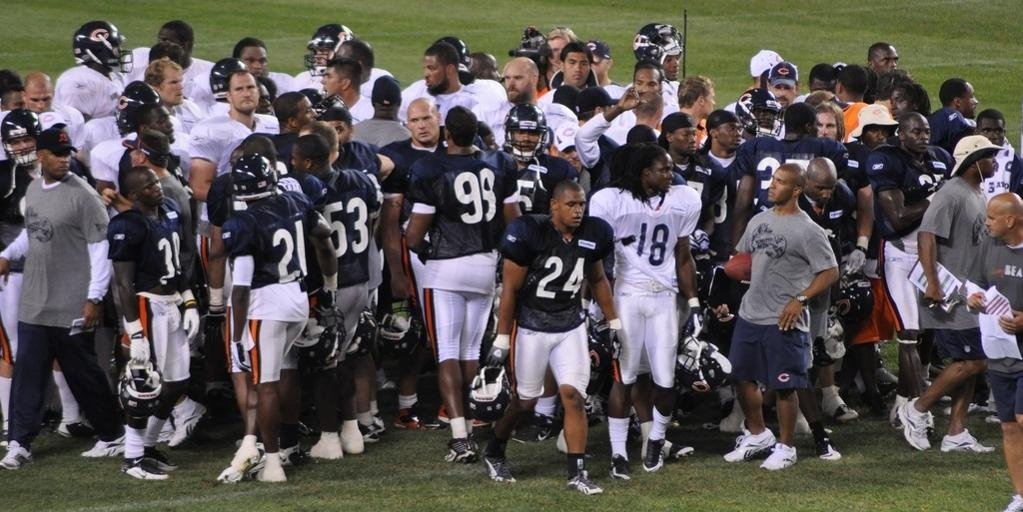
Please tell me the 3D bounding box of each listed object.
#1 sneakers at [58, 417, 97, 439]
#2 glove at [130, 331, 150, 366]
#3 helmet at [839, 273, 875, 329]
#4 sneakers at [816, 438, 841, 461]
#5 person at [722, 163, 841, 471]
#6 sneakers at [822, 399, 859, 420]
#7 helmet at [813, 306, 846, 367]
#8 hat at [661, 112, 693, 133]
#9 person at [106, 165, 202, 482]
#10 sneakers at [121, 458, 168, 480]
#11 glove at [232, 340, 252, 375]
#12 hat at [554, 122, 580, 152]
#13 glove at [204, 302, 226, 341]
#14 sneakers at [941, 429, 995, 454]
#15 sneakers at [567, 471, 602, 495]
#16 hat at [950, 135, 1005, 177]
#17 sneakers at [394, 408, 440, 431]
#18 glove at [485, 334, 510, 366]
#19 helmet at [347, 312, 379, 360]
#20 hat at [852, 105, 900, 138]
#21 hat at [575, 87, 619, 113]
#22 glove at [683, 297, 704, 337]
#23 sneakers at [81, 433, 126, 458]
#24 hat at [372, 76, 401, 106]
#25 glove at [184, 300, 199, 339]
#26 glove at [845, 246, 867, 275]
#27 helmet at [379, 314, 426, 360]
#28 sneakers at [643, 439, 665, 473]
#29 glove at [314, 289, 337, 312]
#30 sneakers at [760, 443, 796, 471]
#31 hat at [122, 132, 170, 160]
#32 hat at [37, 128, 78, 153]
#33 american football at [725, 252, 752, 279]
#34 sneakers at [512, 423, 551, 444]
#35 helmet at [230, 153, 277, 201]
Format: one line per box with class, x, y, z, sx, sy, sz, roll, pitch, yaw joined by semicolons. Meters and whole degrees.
sneakers;-5.303;2.097;13.017;0.550;0.205;0.173;0;14;-4
glove;-4.193;1.044;12.010;0.278;0.316;0.155;9;-10;-19
helmet;4.270;0.504;13.287;0.420;0.569;0.204;-4;9;-25
sneakers;3.675;2.243;12.419;0.319;0.199;0.192;4;8;43
person;3.072;0.663;12.309;1.147;3.472;0.725;2;9;10
sneakers;4.125;1.945;13.374;0.394;0.156;0.218;19;39;34
helmet;3.861;0.949;12.990;0.402;0.490;0.704;-8;-19;16
hat;1.990;-1.599;12.809;0.284;0.143;0.274;-6;4;33
person;-4.053;0.735;12.134;0.877;3.499;0.676;-4;9;-27
sneakers;-4.166;2.401;12.173;0.557;0.206;0.220;3;10;10
glove;-3.062;1.132;12.004;0.237;0.351;0.114;0;9;35
hat;0.700;-1.528;13.575;0.305;0.353;0.454;0;8;1
glove;-3.601;0.830;12.936;0.176;0.371;0.333;-5;10;-32
sneakers;5.436;2.172;12.523;0.695;0.262;0.233;2;-1;2
sneakers;0.892;2.488;11.767;0.477;0.209;0.177;11;12;26
hat;5.425;-1.241;12.646;0.516;0.254;0.545;-40;-5;36
sneakers;-1.180;2.012;13.163;0.680;0.257;0.222;-1;5;-1
glove;-0.164;1.040;11.820;0.246;0.341;0.127;17;0;-33
helmet;-1.781;0.911;12.716;0.363;0.548;0.273;-1;8;-9
hat;4.796;-1.836;13.972;0.844;0.430;0.869;3;17;20
hat;1.108;-2.017;13.873;0.512;0.268;0.327;-21;17;5
glove;2.052;0.714;12.339;0.224;0.427;0.291;7;30;30
sneakers;-4.764;2.235;12.602;0.581;0.235;0.211;0;9;-5
hat;-1.589;-2.095;13.437;0.362;0.382;0.355;-1;8;-9
glove;-3.693;0.736;12.326;0.132;0.355;0.280;-4;-3;-12
glove;4.245;0.050;13.182;0.250;0.291;0.135;8;1;23
helmet;-1.329;0.971;13.155;0.601;0.488;0.461;9;8;14
sneakers;1.629;2.283;12.192;0.165;0.192;0.461;2;29;12
glove;-2.167;0.495;12.354;0.300;0.259;0.195;3;3;0
sneakers;3.064;2.299;12.261;0.490;0.191;0.222;-13;17;-42
hat;-4.267;-1.329;12.506;0.508;0.242;0.327;23;29;13
hat;-5.271;-1.341;12.356;0.390;0.191;0.275;-2;1;24
american football;2.703;0.088;12.663;0.369;0.318;0.235;-2;5;-32
sneakers;0.232;2.141;12.887;0.428;0.137;0.248;-6;11;-33
helmet;-2.926;-0.947;12.048;0.528;0.521;0.671;-3;25;0
